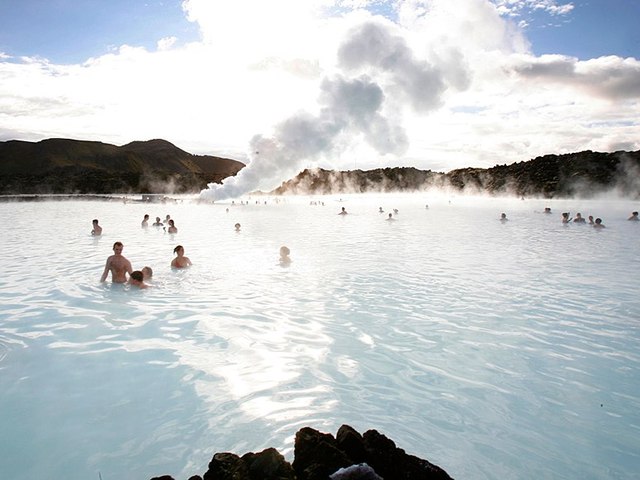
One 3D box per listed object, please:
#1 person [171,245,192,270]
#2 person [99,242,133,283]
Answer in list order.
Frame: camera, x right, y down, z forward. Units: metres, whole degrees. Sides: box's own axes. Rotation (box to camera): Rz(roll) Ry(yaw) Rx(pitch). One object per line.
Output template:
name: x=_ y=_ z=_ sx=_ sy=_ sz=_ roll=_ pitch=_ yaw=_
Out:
person: x=-5.031 y=0.610 z=14.916 sx=0.743 sy=0.845 sz=1.193 roll=-4 pitch=2 yaw=-17
person: x=-6.237 y=0.724 z=12.752 sx=0.987 sy=1.274 sz=0.802 roll=6 pitch=10 yaw=8
